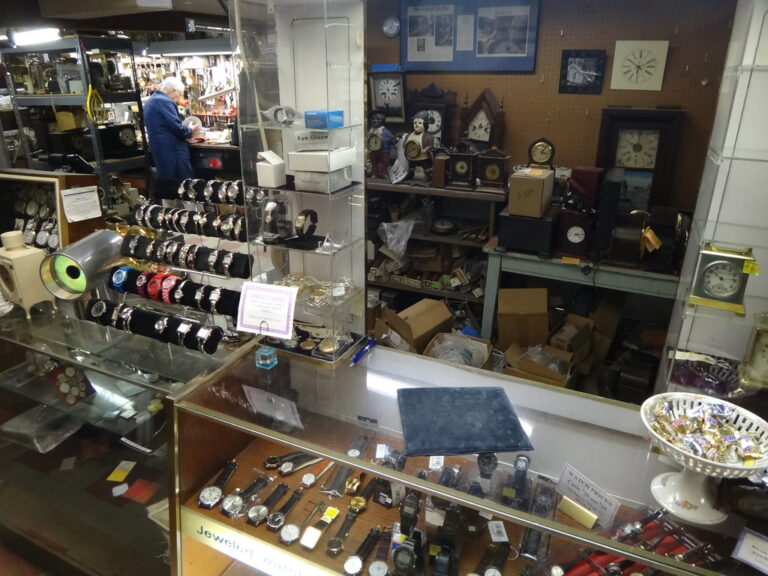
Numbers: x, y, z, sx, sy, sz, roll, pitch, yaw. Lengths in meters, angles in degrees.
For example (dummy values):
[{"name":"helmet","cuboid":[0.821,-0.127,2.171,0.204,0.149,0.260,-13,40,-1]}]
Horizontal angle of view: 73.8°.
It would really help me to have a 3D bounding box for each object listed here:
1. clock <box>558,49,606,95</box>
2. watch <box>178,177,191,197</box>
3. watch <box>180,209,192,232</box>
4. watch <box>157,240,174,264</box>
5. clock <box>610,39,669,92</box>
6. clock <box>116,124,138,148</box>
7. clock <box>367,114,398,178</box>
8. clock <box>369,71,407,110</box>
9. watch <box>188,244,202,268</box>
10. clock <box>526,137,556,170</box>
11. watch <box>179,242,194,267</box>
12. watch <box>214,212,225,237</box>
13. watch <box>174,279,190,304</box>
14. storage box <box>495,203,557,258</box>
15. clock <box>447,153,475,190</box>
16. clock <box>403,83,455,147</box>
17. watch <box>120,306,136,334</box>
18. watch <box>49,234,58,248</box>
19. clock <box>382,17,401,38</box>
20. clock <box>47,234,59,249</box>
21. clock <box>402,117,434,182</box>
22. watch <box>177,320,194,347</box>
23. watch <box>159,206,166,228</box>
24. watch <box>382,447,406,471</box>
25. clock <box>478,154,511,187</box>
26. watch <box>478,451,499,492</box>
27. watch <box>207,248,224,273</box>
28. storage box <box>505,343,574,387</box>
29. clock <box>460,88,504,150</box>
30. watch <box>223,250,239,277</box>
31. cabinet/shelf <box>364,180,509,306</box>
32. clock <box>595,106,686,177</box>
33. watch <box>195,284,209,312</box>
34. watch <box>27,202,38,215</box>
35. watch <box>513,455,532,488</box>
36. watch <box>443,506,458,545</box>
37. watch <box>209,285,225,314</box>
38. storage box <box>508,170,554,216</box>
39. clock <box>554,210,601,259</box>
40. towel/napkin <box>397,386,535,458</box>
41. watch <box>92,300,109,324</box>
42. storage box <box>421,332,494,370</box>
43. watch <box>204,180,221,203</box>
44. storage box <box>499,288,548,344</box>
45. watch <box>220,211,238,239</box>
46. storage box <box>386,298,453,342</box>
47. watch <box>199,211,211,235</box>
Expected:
[{"name":"clock","cuboid":[1.466,-1.602,3.769,0.291,0.304,0.025,13,22,23]},{"name":"watch","cuboid":[-0.944,-0.486,2.472,0.029,0.080,0.058,15,-2,2]},{"name":"watch","cuboid":[-0.914,-0.308,2.393,0.052,0.096,0.071,-21,31,-36]},{"name":"watch","cuboid":[-0.981,-0.157,2.318,0.069,0.110,0.096,9,-10,-34]},{"name":"clock","cuboid":[1.817,-1.590,3.627,0.335,0.352,0.028,8,21,22]},{"name":"clock","cuboid":[-2.207,-1.318,4.435,0.034,0.150,0.151,6,47,26]},{"name":"clock","cuboid":[-0.020,-1.188,4.221,0.317,0.533,0.177,6,17,23]},{"name":"clock","cuboid":[0.033,-1.660,4.314,0.276,0.289,0.071,7,26,17]},{"name":"watch","cuboid":[-0.847,-0.141,2.345,0.081,0.087,0.065,2,1,9]},{"name":"clock","cuboid":[1.151,-0.978,3.753,0.174,0.193,0.267,5,26,14]},{"name":"watch","cuboid":[-0.881,-0.146,2.300,0.081,0.089,0.078,4,1,10]},{"name":"watch","cuboid":[-0.747,-0.293,2.317,0.031,0.068,0.065,2,40,-27]},{"name":"watch","cuboid":[-0.885,0.013,2.247,0.055,0.086,0.080,9,-11,3]},{"name":"storage box","cuboid":[0.990,-0.366,3.547,0.343,0.263,0.352,11,25,21]},{"name":"clock","cuboid":[0.600,-0.940,4.038,0.271,0.303,0.225,9,21,27]},{"name":"clock","cuboid":[0.397,-1.309,4.221,0.404,0.775,0.145,1,-17,3]},{"name":"watch","cuboid":[-1.138,0.141,2.280,0.033,0.095,0.070,2,-17,1]},{"name":"watch","cuboid":[-1.694,-0.237,2.660,0.071,0.075,0.016,3,-2,32]},{"name":"clock","cuboid":[0.067,-2.176,4.267,0.164,0.168,0.032,13,28,28]},{"name":"clock","cuboid":[-1.697,-0.240,2.648,0.080,0.083,0.018,-28,-18,25]},{"name":"clock","cuboid":[0.276,-1.155,4.125,0.210,0.521,0.278,-25,37,-36]},{"name":"watch","cuboid":[-0.844,0.198,2.208,0.056,0.095,0.093,13,0,18]},{"name":"watch","cuboid":[-1.040,-0.339,2.432,0.021,0.067,0.057,14,58,-22]},{"name":"watch","cuboid":[0.038,0.559,1.656,0.069,0.031,0.058,10,28,23]},{"name":"clock","cuboid":[0.825,-0.864,3.967,0.293,0.365,0.213,3,11,18]},{"name":"watch","cuboid":[0.330,0.596,1.629,0.061,0.042,0.117,31,55,-15]},{"name":"watch","cuboid":[-0.747,-0.123,2.259,0.054,0.081,0.091,17,47,9]},{"name":"storage box","cuboid":[0.994,0.503,3.361,0.314,0.201,0.322,12,24,24]},{"name":"clock","cuboid":[0.778,-1.282,4.154,0.337,0.608,0.079,12,39,16]},{"name":"watch","cuboid":[-0.663,-0.101,2.240,0.065,0.117,0.101,11,-20,-9]},{"name":"cabinet/shelf","cuboid":[0.414,-0.346,4.087,0.864,0.660,0.321,9,21,22]},{"name":"clock","cuboid":[1.807,-0.980,3.679,0.490,0.606,0.072,11,-18,17]},{"name":"watch","cuboid":[-0.788,0.041,2.268,0.055,0.094,0.090,3,1,1]},{"name":"watch","cuboid":[-1.896,-0.426,2.802,0.071,0.075,0.017,2,-3,23]},{"name":"watch","cuboid":[0.437,0.588,1.640,0.060,0.102,0.075,-2,25,4]},{"name":"watch","cuboid":[0.225,0.796,1.713,0.051,0.100,0.056,2,25,8]},{"name":"watch","cuboid":[-0.713,0.064,2.210,0.043,0.100,0.104,1,34,1]},{"name":"storage box","cuboid":[1.025,-0.673,3.586,0.237,0.283,0.341,12,28,27]},{"name":"clock","cuboid":[1.323,-0.357,3.575,0.240,0.291,0.242,11,12,32]},{"name":"towel/napkin","cuboid":[0.270,0.462,1.763,0.433,0.084,0.310,-1,25,1]},{"name":"watch","cuboid":[-1.279,0.110,2.330,0.087,0.087,0.052,11,27,25]},{"name":"storage box","cuboid":[0.445,0.372,3.089,0.278,0.098,0.289,11,28,16]},{"name":"watch","cuboid":[-0.784,-0.452,2.422,0.091,0.096,0.083,9,27,22]},{"name":"storage box","cuboid":[1.038,0.228,3.839,0.366,0.529,0.303,-3,34,15]},{"name":"watch","cuboid":[-0.695,-0.281,2.301,0.067,0.114,0.102,9,-10,2]},{"name":"storage box","cuboid":[0.251,0.159,3.513,0.352,0.253,0.248,-31,51,-28]},{"name":"watch","cuboid":[-0.812,-0.297,2.342,0.028,0.078,0.065,4,21,-20]}]
